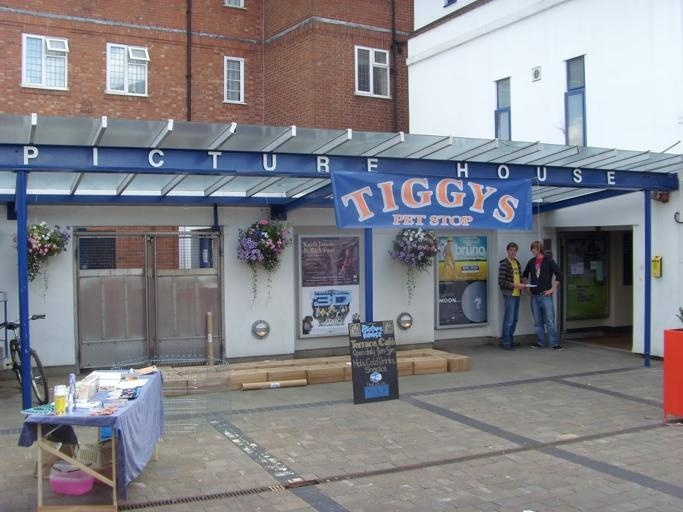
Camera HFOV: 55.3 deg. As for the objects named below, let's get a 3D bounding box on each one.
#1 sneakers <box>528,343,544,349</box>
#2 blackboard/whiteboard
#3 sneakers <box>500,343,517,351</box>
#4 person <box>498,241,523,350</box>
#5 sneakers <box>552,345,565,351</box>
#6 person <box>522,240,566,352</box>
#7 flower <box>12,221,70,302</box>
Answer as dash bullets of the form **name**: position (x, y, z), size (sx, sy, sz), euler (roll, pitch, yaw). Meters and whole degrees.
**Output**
- **sneakers**: position (4.443, 2.055, 14.891), size (0.257, 0.104, 0.105), euler (1, -3, 14)
- **blackboard/whiteboard**: position (0.518, 1.680, 10.425), size (0.784, 1.210, 0.460), euler (-1, 5, -16)
- **sneakers**: position (3.735, 2.048, 14.742), size (0.378, 0.161, 0.126), euler (-6, -5, 29)
- **person**: position (3.837, 0.869, 14.875), size (0.539, 2.357, 0.694), euler (2, 5, 14)
- **sneakers**: position (4.822, 2.052, 14.533), size (0.228, 0.092, 0.091), euler (-2, -5, 23)
- **person**: position (4.536, 0.875, 14.713), size (0.916, 2.390, 0.509), euler (3, 6, 27)
- **flower**: position (-5.507, -0.030, 11.552), size (0.815, 1.069, 0.930), euler (7, -3, 2)
